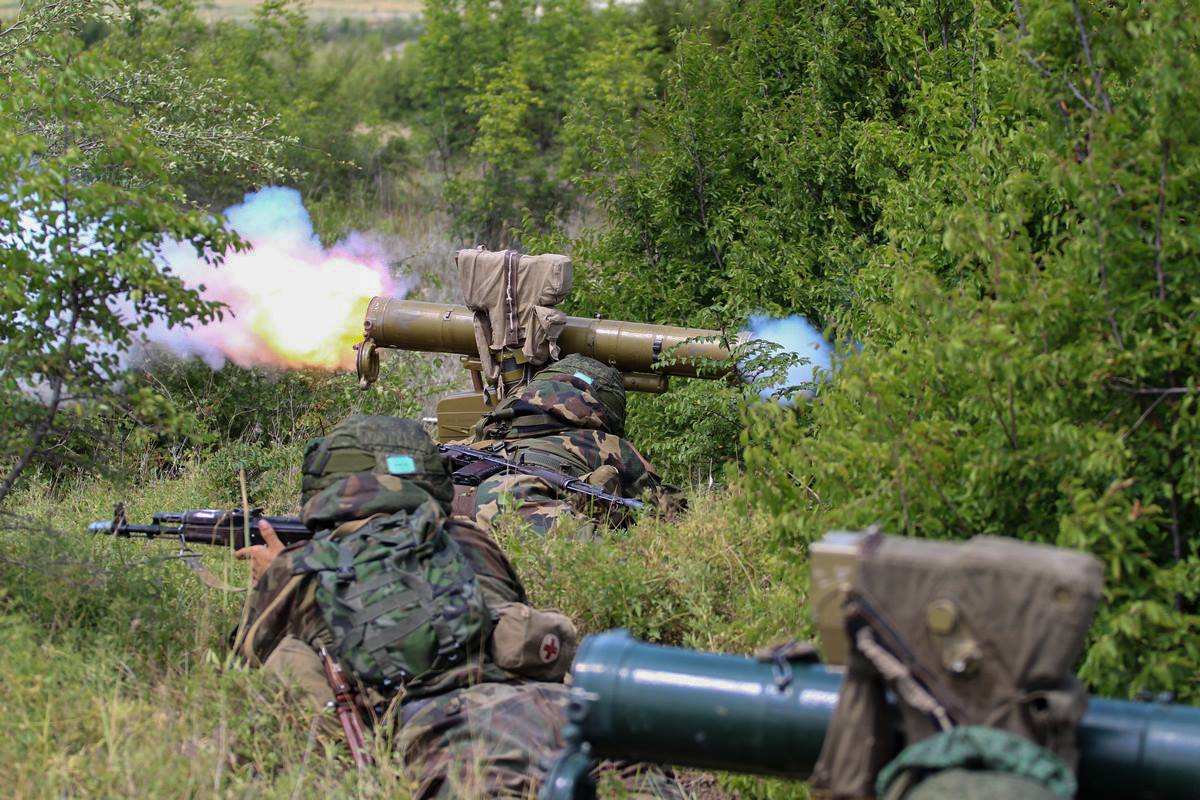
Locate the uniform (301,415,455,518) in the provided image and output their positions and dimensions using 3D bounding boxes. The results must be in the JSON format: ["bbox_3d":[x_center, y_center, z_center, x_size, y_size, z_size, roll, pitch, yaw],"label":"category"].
[{"bbox_3d":[-1.296,0.383,7.280,0.928,0.611,0.653,6,-7,-26],"label":"uniform"}]

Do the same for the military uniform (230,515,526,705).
[{"bbox_3d":[-1.485,1.054,7.166,1.348,0.812,1.715,-6,2,-33],"label":"military uniform"}]
